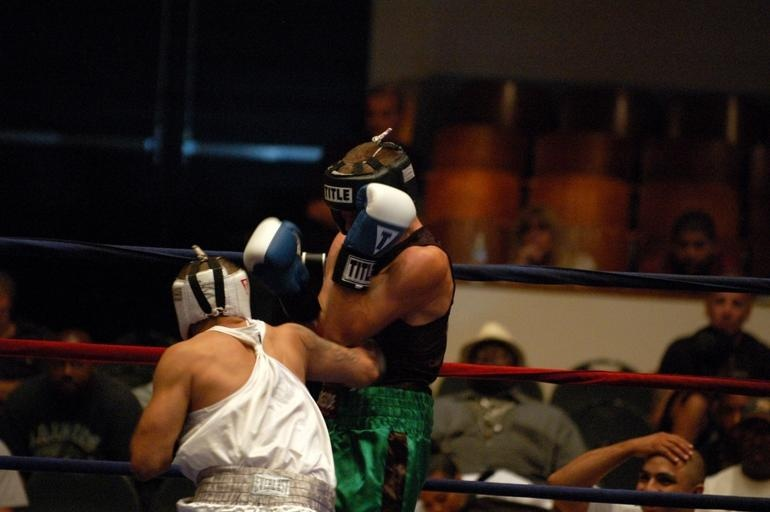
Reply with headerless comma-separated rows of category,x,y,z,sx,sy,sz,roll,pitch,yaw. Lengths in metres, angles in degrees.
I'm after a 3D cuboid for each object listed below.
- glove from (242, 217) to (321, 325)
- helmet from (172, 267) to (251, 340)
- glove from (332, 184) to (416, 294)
glove,-0.556,0.058,4.622,0.298,0.353,0.577,-14,-43,5
helmet,-0.896,0.240,4.515,0.422,0.398,0.341,-5,-4,8
glove,-0.047,-0.085,4.470,0.325,0.578,0.326,27,1,-16
